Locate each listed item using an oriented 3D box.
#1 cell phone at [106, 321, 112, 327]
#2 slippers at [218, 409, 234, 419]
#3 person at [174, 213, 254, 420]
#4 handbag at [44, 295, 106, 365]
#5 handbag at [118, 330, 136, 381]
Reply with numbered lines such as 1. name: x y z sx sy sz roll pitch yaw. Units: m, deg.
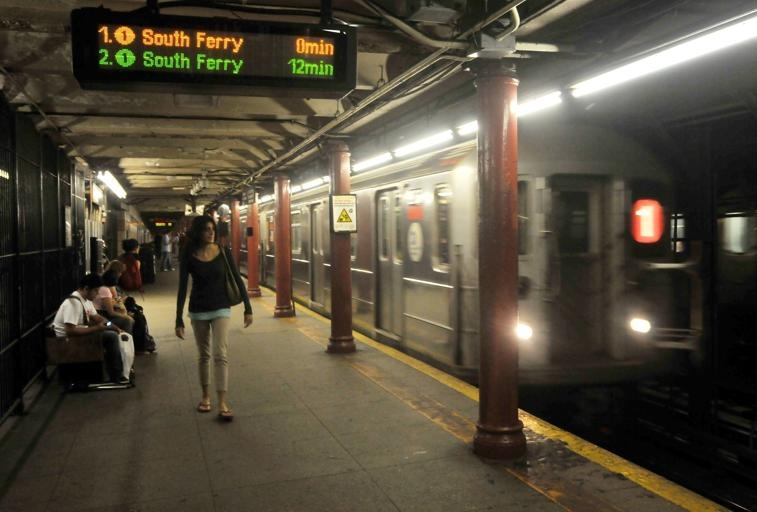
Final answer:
1. cell phone: -3.655 0.918 7.854 0.073 0.035 0.103 4 4 -20
2. slippers: -1.714 1.788 6.535 0.083 0.078 0.200 4 -15 -35
3. person: -1.894 0.688 6.613 0.812 2.286 0.543 0 7 -4
4. handbag: -3.974 0.968 7.583 0.654 0.960 0.415 -3 7 -25
5. handbag: -3.412 1.347 7.884 0.177 0.550 0.421 0 5 6
